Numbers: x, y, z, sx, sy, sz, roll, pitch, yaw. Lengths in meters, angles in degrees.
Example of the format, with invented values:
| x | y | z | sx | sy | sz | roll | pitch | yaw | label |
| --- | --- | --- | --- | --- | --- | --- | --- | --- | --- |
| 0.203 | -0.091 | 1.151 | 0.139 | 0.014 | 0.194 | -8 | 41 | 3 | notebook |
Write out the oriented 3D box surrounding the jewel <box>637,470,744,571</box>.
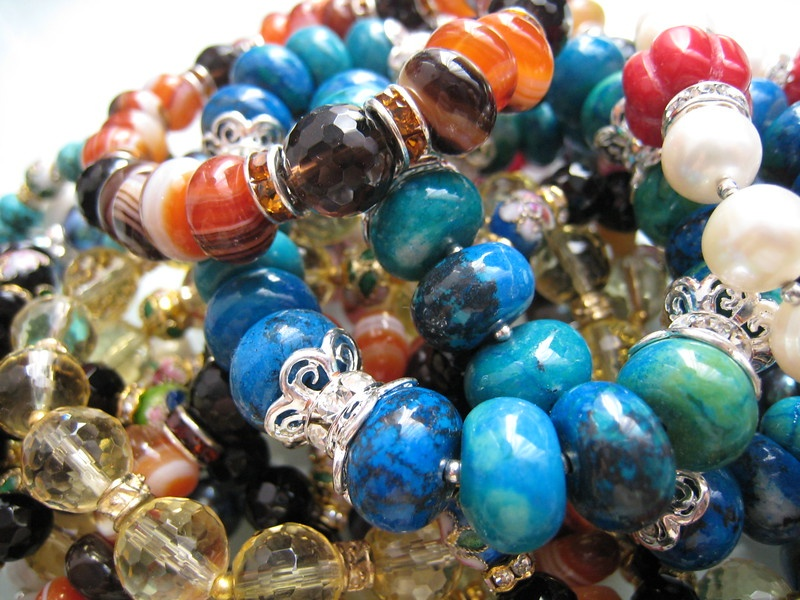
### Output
| x | y | z | sx | sy | sz | roll | pitch | yaw | label |
| --- | --- | --- | --- | --- | --- | --- | --- | --- | --- |
| 0.498 | 0.376 | 1.342 | 0.154 | 0.213 | 0.169 | 7 | -15 | 7 | jewel |

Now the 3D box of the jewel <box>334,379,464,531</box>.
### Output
| x | y | z | sx | sy | sz | roll | pitch | yaw | label |
| --- | --- | --- | --- | --- | --- | --- | --- | --- | --- |
| 0.034 | 0.259 | 1.332 | 0.180 | 0.207 | 0.269 | -8 | 37 | 16 | jewel |

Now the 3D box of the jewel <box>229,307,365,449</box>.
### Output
| x | y | z | sx | sy | sz | roll | pitch | yaw | label |
| --- | --- | --- | --- | --- | --- | --- | --- | --- | --- |
| -0.167 | 0.120 | 1.426 | 0.152 | 0.192 | 0.204 | 34 | 13 | 19 | jewel |
